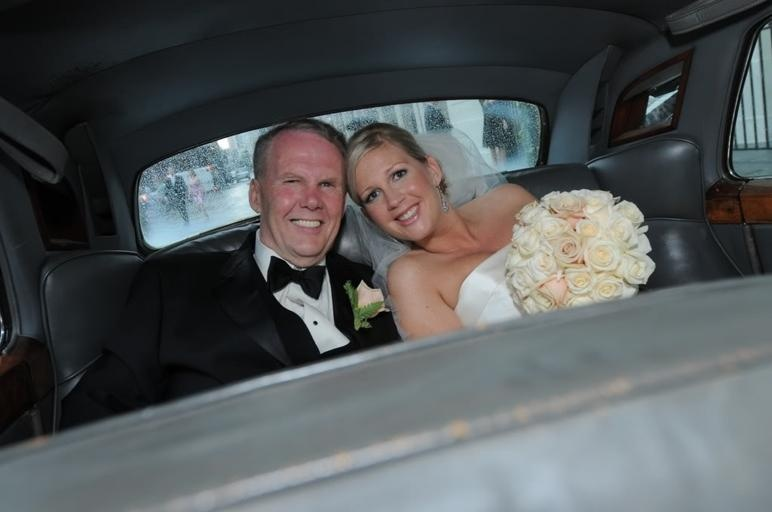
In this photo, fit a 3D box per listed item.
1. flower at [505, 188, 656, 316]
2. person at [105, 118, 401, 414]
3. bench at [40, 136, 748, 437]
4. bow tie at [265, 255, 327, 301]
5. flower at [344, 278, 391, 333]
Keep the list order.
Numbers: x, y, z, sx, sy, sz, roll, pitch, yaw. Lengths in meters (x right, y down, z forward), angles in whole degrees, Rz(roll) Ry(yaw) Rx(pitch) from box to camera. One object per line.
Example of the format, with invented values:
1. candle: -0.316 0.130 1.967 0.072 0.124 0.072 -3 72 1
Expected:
1. flower: 0.745 0.037 1.857 0.478 0.491 0.338 25 -9 33
2. person: -0.515 0.117 2.055 0.837 1.213 0.888 1 24 -7
3. bench: -0.808 0.018 2.883 2.500 0.882 0.906 -15 8 -8
4. bow tie: -0.362 0.091 2.005 0.225 0.152 0.038 12 -19 -28
5. flower: -0.085 0.185 1.976 0.173 0.182 0.074 -20 -34 2
